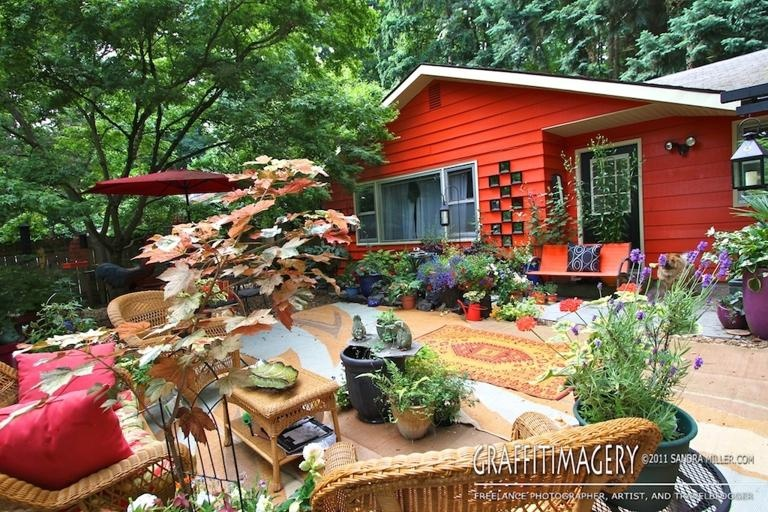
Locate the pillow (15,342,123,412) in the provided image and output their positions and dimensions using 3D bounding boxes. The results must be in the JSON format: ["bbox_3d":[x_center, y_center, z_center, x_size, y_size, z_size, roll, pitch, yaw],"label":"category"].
[{"bbox_3d":[-2.062,0.801,3.004,0.617,0.179,0.677,33,18,32],"label":"pillow"}]
